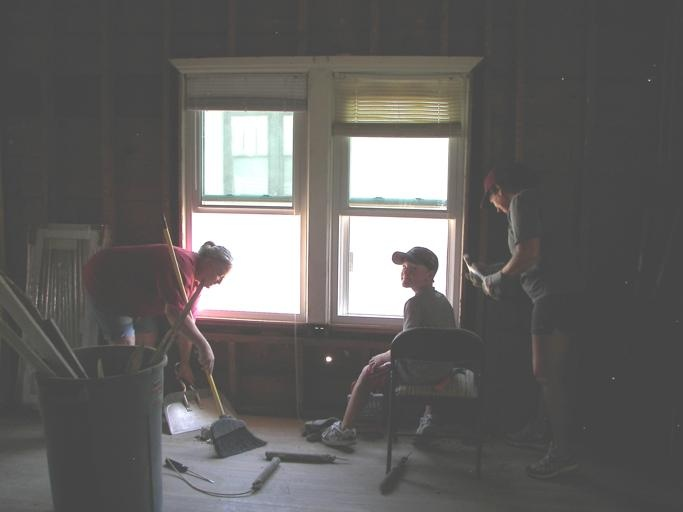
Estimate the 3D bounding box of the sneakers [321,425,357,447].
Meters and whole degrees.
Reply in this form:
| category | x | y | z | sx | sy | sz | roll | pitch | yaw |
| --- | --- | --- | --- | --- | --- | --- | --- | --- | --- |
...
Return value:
| category | x | y | z | sx | sy | sz | roll | pitch | yaw |
| --- | --- | --- | --- | --- | --- | --- | --- | --- | --- |
| sneakers | -0.026 | 1.222 | 4.624 | 0.190 | 0.136 | 0.126 | 3 | -7 | 12 |

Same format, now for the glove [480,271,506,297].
| category | x | y | z | sx | sy | sz | roll | pitch | yaw |
| --- | --- | --- | --- | --- | --- | --- | --- | --- | --- |
| glove | 1.028 | 0.202 | 4.607 | 0.117 | 0.136 | 0.171 | -5 | 2 | -12 |

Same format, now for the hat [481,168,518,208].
| category | x | y | z | sx | sy | sz | roll | pitch | yaw |
| --- | --- | --- | --- | --- | --- | --- | --- | --- | --- |
| hat | 1.136 | -0.507 | 4.689 | 0.129 | 0.327 | 0.345 | -23 | -8 | 38 |

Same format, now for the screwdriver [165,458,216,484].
| category | x | y | z | sx | sy | sz | roll | pitch | yaw |
| --- | --- | --- | --- | --- | --- | --- | --- | --- | --- |
| screwdriver | -0.972 | 1.366 | 4.303 | 0.406 | 0.097 | 0.087 | 3 | 4 | 30 |

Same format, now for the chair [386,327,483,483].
| category | x | y | z | sx | sy | sz | roll | pitch | yaw |
| --- | --- | --- | --- | --- | --- | --- | --- | --- | --- |
| chair | 0.614 | 0.879 | 4.284 | 0.688 | 1.272 | 0.857 | 0 | 6 | 4 |

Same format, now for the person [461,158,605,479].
| category | x | y | z | sx | sy | sz | roll | pitch | yaw |
| --- | --- | --- | --- | --- | --- | --- | --- | --- | --- |
| person | 1.261 | 0.391 | 4.486 | 0.614 | 1.979 | 0.390 | 2 | 3 | 15 |

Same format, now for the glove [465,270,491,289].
| category | x | y | z | sx | sy | sz | roll | pitch | yaw |
| --- | --- | --- | --- | --- | --- | --- | --- | --- | --- |
| glove | 0.933 | 0.161 | 4.658 | 0.122 | 0.043 | 0.096 | 15 | -24 | 40 |

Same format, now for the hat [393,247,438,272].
| category | x | y | z | sx | sy | sz | roll | pitch | yaw |
| --- | --- | --- | --- | --- | --- | --- | --- | --- | --- |
| hat | 0.497 | 0.042 | 4.522 | 0.251 | 0.144 | 0.164 | 26 | 5 | -11 |
